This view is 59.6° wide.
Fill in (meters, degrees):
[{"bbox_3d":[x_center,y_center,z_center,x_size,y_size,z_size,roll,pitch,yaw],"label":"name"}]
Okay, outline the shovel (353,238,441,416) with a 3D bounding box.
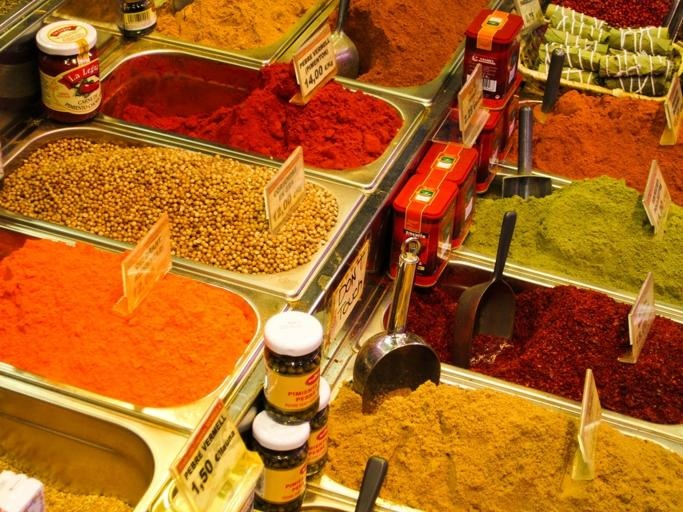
[{"bbox_3d":[0.162,0.182,1.776,0.253,0.496,0.134,10,7,-30],"label":"shovel"}]
